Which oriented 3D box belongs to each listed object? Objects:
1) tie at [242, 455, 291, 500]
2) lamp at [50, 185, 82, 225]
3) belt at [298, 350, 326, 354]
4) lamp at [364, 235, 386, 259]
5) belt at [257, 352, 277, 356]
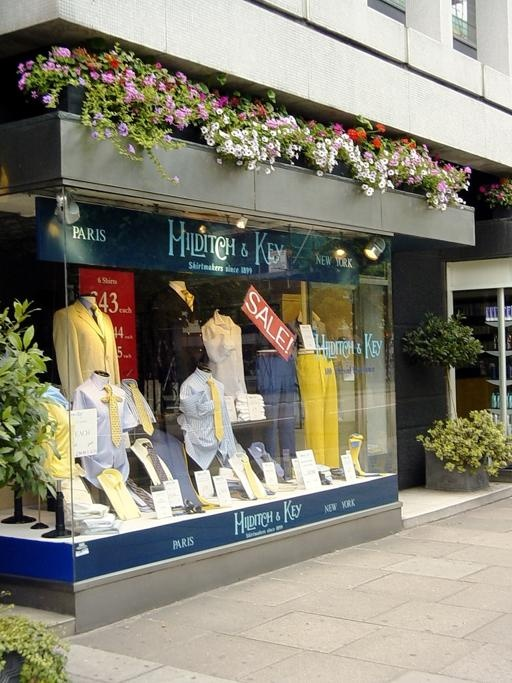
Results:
[{"bbox_3d":[0.041,1.045,5.147,0.114,0.275,0.374,-5,-2,38],"label":"tie"},{"bbox_3d":[-1.079,-0.758,3.739,0.152,0.244,0.221,-7,-17,-12],"label":"lamp"},{"bbox_3d":[0.484,0.098,5.736,0.047,0.041,0.342,-5,-2,38],"label":"belt"},{"bbox_3d":[1.130,-0.874,6.200,0.071,0.198,0.282,-5,-2,45],"label":"lamp"},{"bbox_3d":[0.084,0.097,5.299,0.039,0.044,0.229,-5,-2,31],"label":"belt"}]
